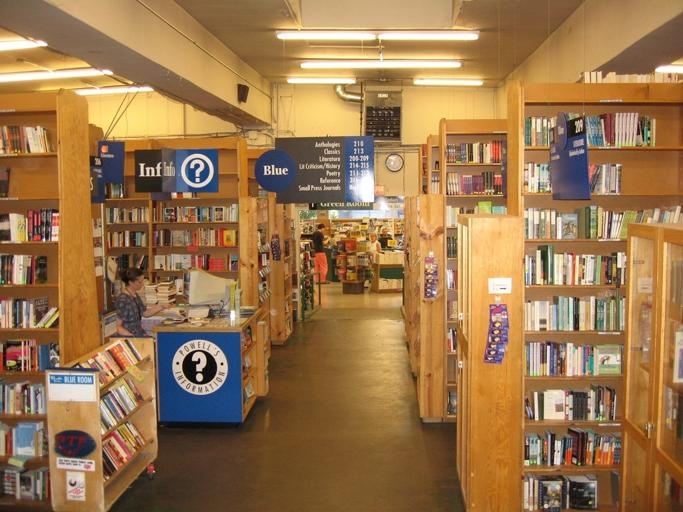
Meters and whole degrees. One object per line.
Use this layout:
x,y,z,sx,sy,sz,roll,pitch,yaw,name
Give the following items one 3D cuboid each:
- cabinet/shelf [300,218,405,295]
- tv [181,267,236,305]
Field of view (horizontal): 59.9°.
0.627,0.527,18.196,2.377,2.354,0.812,2,19,0,cabinet/shelf
-2.043,0.496,8.592,0.775,0.538,0.786,-9,-10,13,tv
